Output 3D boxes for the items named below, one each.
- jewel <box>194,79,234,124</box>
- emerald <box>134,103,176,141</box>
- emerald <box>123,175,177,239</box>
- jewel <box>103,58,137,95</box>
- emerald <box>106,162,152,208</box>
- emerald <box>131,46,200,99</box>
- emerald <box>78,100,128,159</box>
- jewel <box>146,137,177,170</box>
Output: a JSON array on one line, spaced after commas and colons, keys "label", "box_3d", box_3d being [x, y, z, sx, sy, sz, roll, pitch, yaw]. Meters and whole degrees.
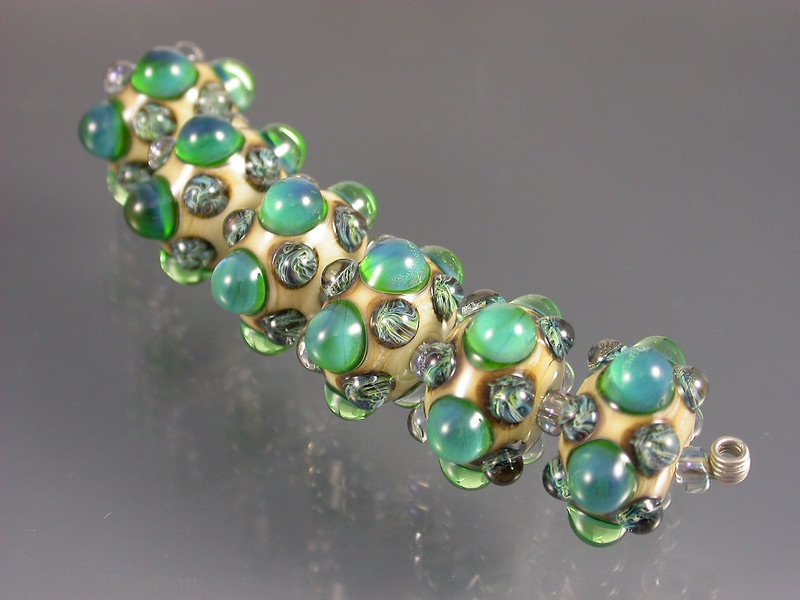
[{"label": "jewel", "box_3d": [-0.342, -0.368, 1.914, 0.068, 0.074, 0.095, -1, -78, 1]}, {"label": "emerald", "box_3d": [-0.455, -0.321, 1.889, 0.065, 0.077, 0.039, 7, -3, -2]}, {"label": "emerald", "box_3d": [-0.444, -0.159, 1.815, 0.108, 0.090, 0.122, 7, -70, 62]}, {"label": "jewel", "box_3d": [-0.530, -0.430, 1.966, 0.067, 0.075, 0.016, -26, -36, 30]}, {"label": "emerald", "box_3d": [-0.511, -0.225, 1.936, 0.078, 0.093, 0.030, 0, -4, 18]}, {"label": "emerald", "box_3d": [-0.446, -0.433, 1.951, 0.139, 0.155, 0.074, -6, -77, 6]}, {"label": "emerald", "box_3d": [-0.539, -0.309, 1.898, 0.078, 0.108, 0.082, -39, -92, 15]}, {"label": "jewel", "box_3d": [-0.422, -0.261, 1.833, 0.047, 0.063, 0.016, -8, -21, 37]}]
